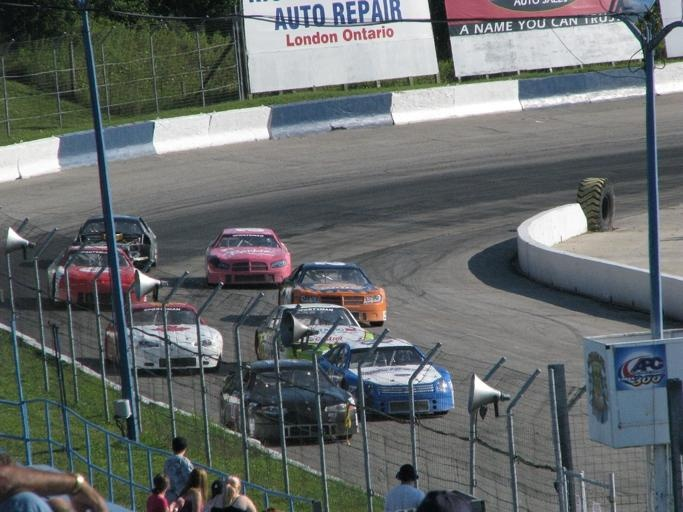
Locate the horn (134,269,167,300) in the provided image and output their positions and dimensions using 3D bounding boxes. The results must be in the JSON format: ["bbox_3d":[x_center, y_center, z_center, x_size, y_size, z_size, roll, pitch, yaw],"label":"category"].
[{"bbox_3d":[-4.747,0.840,48.233,0.775,0.976,0.978,0,10,-16],"label":"horn"}]

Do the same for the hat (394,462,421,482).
[{"bbox_3d":[1.479,4.873,43.984,0.390,0.440,0.430,8,26,16],"label":"hat"}]

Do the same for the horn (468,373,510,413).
[{"bbox_3d":[3.435,3.175,44.891,0.984,0.894,0.843,6,-4,2],"label":"horn"}]

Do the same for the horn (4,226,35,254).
[{"bbox_3d":[-8.114,-0.331,48.964,0.778,0.710,0.703,8,26,8],"label":"horn"}]
